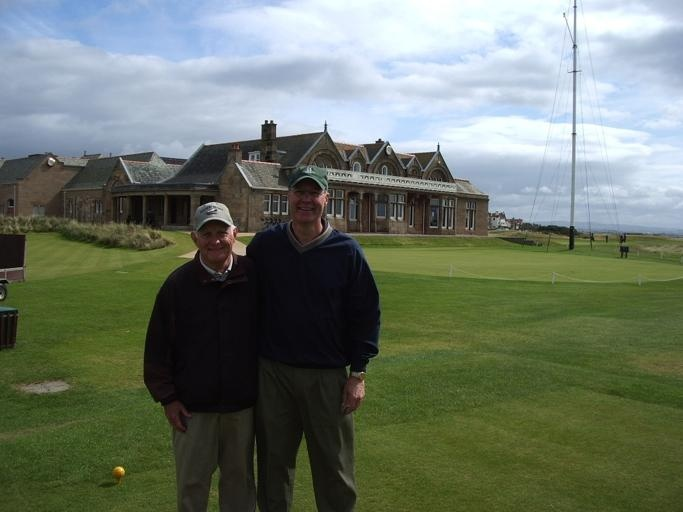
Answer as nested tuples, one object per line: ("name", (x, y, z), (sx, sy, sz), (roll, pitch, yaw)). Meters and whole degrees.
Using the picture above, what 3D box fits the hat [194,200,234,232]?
("hat", (-1.200, -0.377, 5.194), (0.249, 0.185, 0.353), (-1, -10, -12))

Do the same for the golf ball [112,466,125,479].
("golf ball", (-2.358, 2.297, 5.937), (0.116, 0.140, 0.119), (-2, -8, 0))
